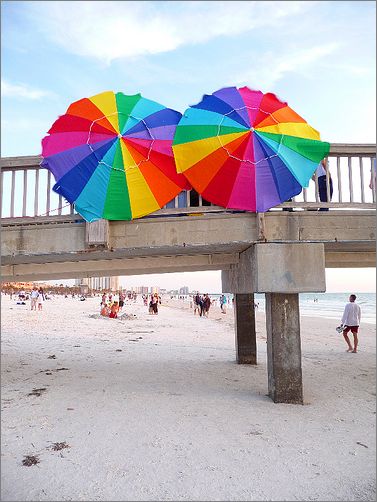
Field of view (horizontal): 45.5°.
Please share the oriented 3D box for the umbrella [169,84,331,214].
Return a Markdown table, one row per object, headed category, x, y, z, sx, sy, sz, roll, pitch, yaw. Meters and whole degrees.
| category | x | y | z | sx | sy | sz | roll | pitch | yaw |
| --- | --- | --- | --- | --- | --- | --- | --- | --- | --- |
| umbrella | 0.966 | -1.630 | 7.441 | 2.336 | 2.256 | 0.781 | 7 | -10 | 1 |
